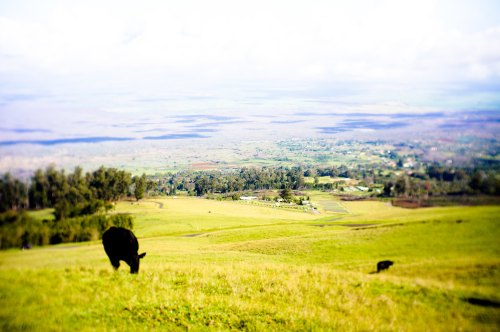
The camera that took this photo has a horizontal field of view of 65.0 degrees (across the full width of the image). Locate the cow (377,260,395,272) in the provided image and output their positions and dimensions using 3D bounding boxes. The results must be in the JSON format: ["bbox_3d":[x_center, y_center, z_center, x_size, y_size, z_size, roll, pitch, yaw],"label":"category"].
[{"bbox_3d":[7.030,5.230,20.541,0.994,0.591,0.195,-1,-1,-21],"label":"cow"}]
